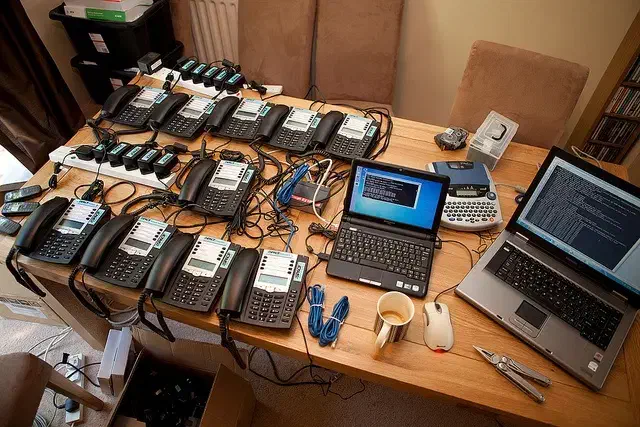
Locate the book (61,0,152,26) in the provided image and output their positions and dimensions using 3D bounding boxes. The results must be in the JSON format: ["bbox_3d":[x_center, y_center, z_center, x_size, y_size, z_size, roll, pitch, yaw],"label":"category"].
[{"bbox_3d":[-1.432,-1.376,2.794,0.283,0.064,0.281,23,47,15],"label":"book"}]

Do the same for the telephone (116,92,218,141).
[{"bbox_3d":[-0.776,-0.554,2.313,0.375,0.089,0.353,19,53,17],"label":"telephone"}]

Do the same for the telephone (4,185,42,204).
[{"bbox_3d":[-1.470,-0.097,2.059,0.164,0.028,0.074,-8,51,-7],"label":"telephone"}]

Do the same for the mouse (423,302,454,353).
[{"bbox_3d":[0.499,0.458,1.742,0.136,0.059,0.223,4,52,-3],"label":"mouse"}]

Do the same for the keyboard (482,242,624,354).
[{"bbox_3d":[1.020,0.372,1.819,0.099,0.295,0.774,31,8,-21],"label":"keyboard"}]

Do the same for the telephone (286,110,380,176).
[{"bbox_3d":[0.102,-0.357,2.188,0.376,0.099,0.418,23,67,16],"label":"telephone"}]

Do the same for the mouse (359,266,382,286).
[{"bbox_3d":[0.219,0.276,1.827,0.093,0.021,0.064,16,74,9],"label":"mouse"}]

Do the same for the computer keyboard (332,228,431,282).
[{"bbox_3d":[0.281,0.183,1.866,0.421,0.087,0.143,11,44,10],"label":"computer keyboard"}]

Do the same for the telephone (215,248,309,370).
[{"bbox_3d":[-0.244,0.351,1.739,0.344,0.149,0.486,13,85,7],"label":"telephone"}]

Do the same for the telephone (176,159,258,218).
[{"bbox_3d":[-0.492,-0.137,2.035,0.306,0.120,0.306,13,63,7],"label":"telephone"}]

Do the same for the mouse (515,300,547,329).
[{"bbox_3d":[0.891,0.426,1.740,0.104,0.045,0.069,31,51,28],"label":"mouse"}]

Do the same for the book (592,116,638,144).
[{"bbox_3d":[2.212,-0.635,3.096,0.207,0.193,0.051,17,34,7],"label":"book"}]

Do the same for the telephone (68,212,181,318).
[{"bbox_3d":[-0.891,0.180,1.841,0.339,0.138,0.465,18,51,13],"label":"telephone"}]

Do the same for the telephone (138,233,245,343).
[{"bbox_3d":[-0.586,0.271,1.807,0.359,0.175,0.488,25,52,27],"label":"telephone"}]
